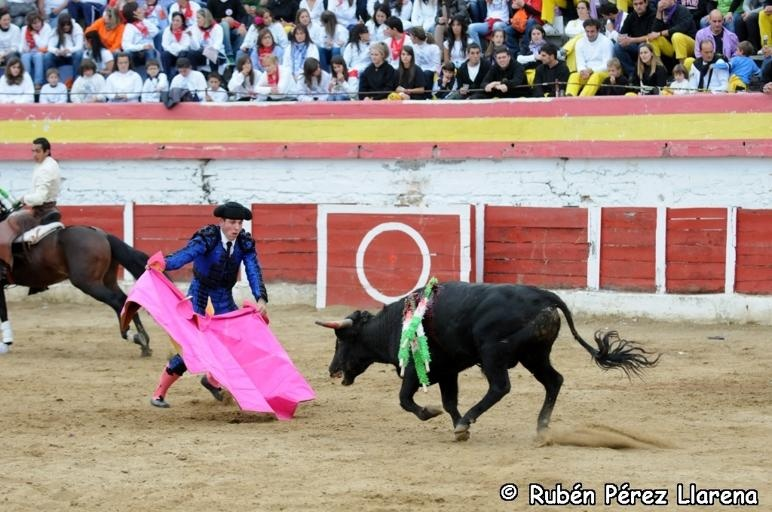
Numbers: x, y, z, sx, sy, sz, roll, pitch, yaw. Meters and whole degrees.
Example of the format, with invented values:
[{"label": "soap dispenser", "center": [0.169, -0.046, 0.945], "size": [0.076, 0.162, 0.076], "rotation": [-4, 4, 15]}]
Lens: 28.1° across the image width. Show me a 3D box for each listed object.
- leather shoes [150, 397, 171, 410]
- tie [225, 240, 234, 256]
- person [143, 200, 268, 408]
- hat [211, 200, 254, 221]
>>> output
[{"label": "leather shoes", "center": [-2.389, 1.558, 16.332], "size": [0.192, 0.068, 0.106], "rotation": [-1, 2, 44]}, {"label": "tie", "center": [-1.618, -0.086, 16.110], "size": [0.108, 0.155, 0.028], "rotation": [-10, 13, -42]}, {"label": "person", "center": [-1.866, 0.502, 16.272], "size": [1.213, 2.196, 0.758], "rotation": [-2, 10, -5]}, {"label": "hat", "center": [-1.697, -0.505, 17.191], "size": [0.450, 0.177, 0.479], "rotation": [4, -4, 1]}]
